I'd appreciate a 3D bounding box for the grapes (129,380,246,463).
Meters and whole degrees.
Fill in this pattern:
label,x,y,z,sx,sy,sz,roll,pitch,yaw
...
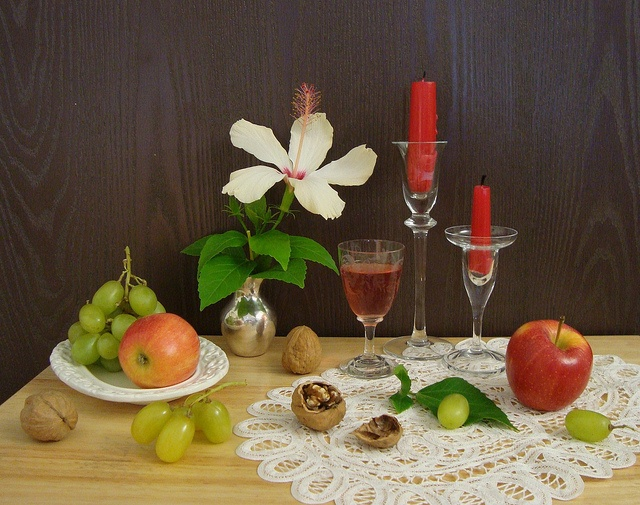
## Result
label,x,y,z,sx,sy,sz,roll,pitch,yaw
grapes,-0.194,0.276,1.015,0.206,0.083,0.110,-7,21,-39

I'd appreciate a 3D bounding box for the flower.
label,x,y,z,sx,sy,sz,roll,pitch,yaw
flower,-0.089,-0.061,1.197,0.298,0.480,0.286,10,-16,25

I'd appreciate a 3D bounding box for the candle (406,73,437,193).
label,x,y,z,sx,sy,sz,roll,pitch,yaw
candle,0.198,-0.228,1.207,0.053,0.208,0.063,3,13,6

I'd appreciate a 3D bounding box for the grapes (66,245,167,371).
label,x,y,z,sx,sy,sz,roll,pitch,yaw
grapes,-0.378,0.124,1.202,0.143,0.275,0.151,11,16,30

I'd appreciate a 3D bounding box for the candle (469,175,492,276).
label,x,y,z,sx,sy,sz,roll,pitch,yaw
candle,0.303,-0.063,1.182,0.030,0.162,0.033,0,18,12

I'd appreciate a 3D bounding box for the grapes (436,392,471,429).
label,x,y,z,sx,sy,sz,roll,pitch,yaw
grapes,0.220,0.266,1.025,0.050,0.064,0.073,3,18,18

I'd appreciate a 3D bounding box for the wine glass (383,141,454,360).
label,x,y,z,sx,sy,sz,roll,pitch,yaw
wine glass,0.192,-0.040,1.253,0.110,0.507,0.126,2,14,7

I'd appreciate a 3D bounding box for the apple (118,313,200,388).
label,x,y,z,sx,sy,sz,roll,pitch,yaw
apple,-0.283,0.171,1.128,0.118,0.132,0.126,1,12,-1

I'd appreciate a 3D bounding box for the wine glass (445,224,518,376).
label,x,y,z,sx,sy,sz,roll,pitch,yaw
wine glass,0.299,0.081,1.216,0.106,0.349,0.133,3,12,7

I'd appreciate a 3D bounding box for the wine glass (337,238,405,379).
label,x,y,z,sx,sy,sz,roll,pitch,yaw
wine glass,0.096,0.105,1.191,0.114,0.247,0.117,6,7,37

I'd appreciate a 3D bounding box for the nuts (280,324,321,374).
label,x,y,z,sx,sy,sz,roll,pitch,yaw
nuts,-0.035,0.191,1.220,0.071,0.087,0.073,-6,16,-26

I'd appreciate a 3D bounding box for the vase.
label,x,y,z,sx,sy,sz,roll,pitch,yaw
vase,-0.147,0.126,1.291,0.084,0.181,0.080,12,16,37
